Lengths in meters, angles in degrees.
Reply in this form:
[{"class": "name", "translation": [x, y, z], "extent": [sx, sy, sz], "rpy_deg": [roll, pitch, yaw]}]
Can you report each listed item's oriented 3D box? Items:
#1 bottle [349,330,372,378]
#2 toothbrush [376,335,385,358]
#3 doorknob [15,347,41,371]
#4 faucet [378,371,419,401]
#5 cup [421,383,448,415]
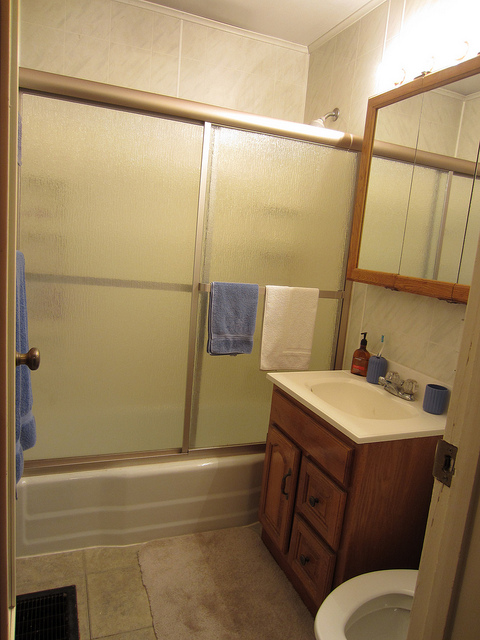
[{"class": "bottle", "translation": [0.491, 0.132, 2.037], "extent": [0.062, 0.187, 0.038], "rpy_deg": [13, 22, 19]}, {"class": "toothbrush", "translation": [0.560, 0.098, 1.996], "extent": [0.023, 0.083, 0.061], "rpy_deg": [5, 9, 15]}, {"class": "doorknob", "translation": [-0.438, 0.078, 1.037], "extent": [0.056, 0.042, 0.041], "rpy_deg": [5, 13, 5]}, {"class": "faucet", "translation": [0.571, 0.244, 1.811], "extent": [0.046, 0.067, 0.146], "rpy_deg": [1, 4, -16]}, {"class": "cup", "translation": [0.627, 0.254, 1.631], "extent": [0.075, 0.105, 0.079], "rpy_deg": [4, 9, -1]}]
